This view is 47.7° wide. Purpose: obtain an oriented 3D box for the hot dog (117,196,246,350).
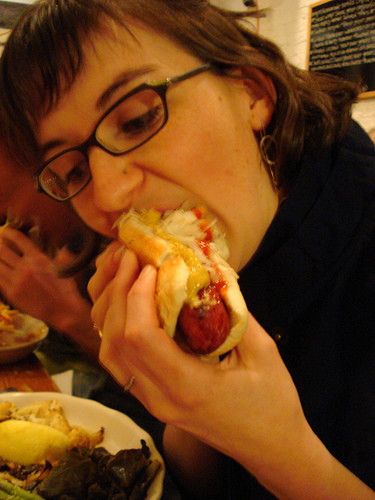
[{"bbox_3d":[-0.031,0.011,1.061,0.133,0.189,0.412,-25,64,0],"label":"hot dog"}]
